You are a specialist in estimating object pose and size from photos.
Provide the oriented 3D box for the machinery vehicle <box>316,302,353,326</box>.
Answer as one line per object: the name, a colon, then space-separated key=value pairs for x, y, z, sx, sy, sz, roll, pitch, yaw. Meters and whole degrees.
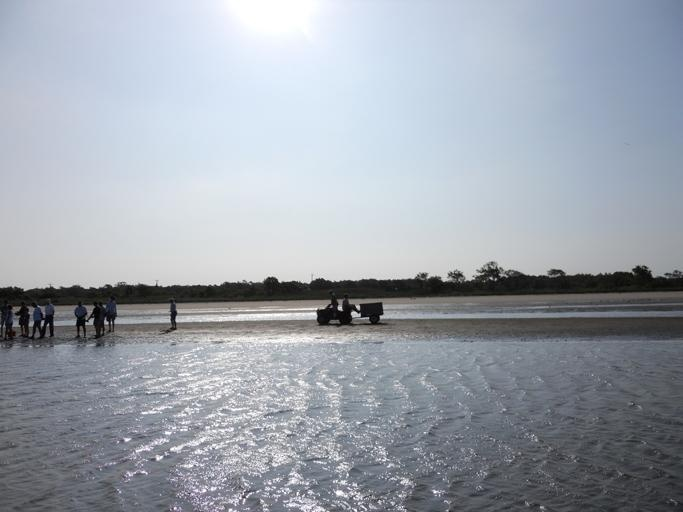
machinery vehicle: x=-0.545 y=4.625 z=42.583 sx=2.423 sy=1.103 sz=1.359 roll=3 pitch=-5 yaw=-5
